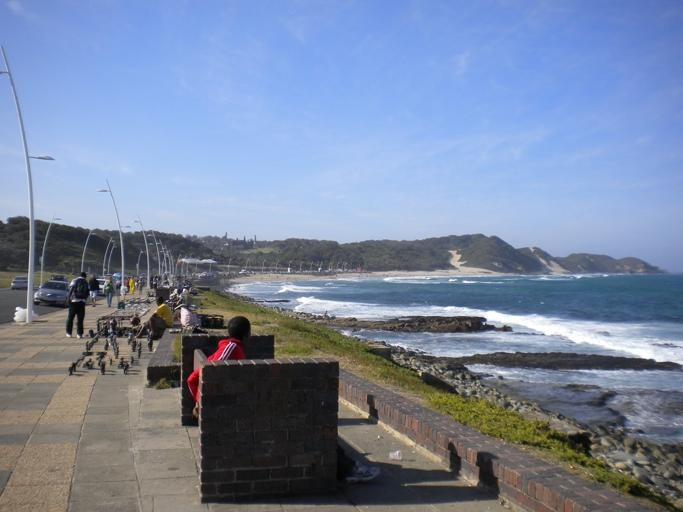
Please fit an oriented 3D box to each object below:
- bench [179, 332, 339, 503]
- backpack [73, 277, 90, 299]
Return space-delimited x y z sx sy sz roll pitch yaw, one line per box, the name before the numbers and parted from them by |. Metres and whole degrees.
bench | -0.710 1.817 4.606 1.465 0.965 0.139 4 -2 -19
backpack | -8.507 1.078 14.517 0.490 0.641 0.620 5 -3 -28
